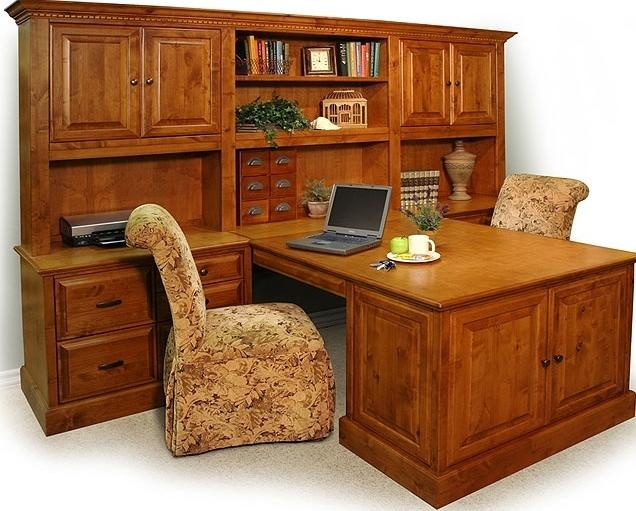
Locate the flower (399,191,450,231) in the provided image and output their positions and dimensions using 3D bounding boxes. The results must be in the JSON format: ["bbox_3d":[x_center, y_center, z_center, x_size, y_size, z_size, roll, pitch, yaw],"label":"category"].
[{"bbox_3d":[0.697,-0.300,3.572,0.407,0.225,0.362,-11,16,-32],"label":"flower"}]

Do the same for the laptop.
[{"bbox_3d":[0.147,-0.220,2.950,0.482,0.292,0.524,8,13,41],"label":"laptop"}]

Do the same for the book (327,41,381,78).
[{"bbox_3d":[0.245,-1.390,3.775,0.331,0.236,0.166,-13,21,-34],"label":"book"}]

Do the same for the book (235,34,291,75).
[{"bbox_3d":[-0.357,-1.300,3.465,0.353,0.257,0.215,-2,15,-4],"label":"book"}]

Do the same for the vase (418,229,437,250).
[{"bbox_3d":[0.595,-0.083,2.859,0.131,0.077,0.105,-2,12,-6],"label":"vase"}]

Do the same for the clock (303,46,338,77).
[{"bbox_3d":[0.014,-1.350,3.706,0.329,0.244,0.032,-3,-3,-20],"label":"clock"}]

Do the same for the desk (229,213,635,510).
[{"bbox_3d":[0.753,0.433,2.710,1.375,0.907,1.019,-10,17,-30],"label":"desk"}]

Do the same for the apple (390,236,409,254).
[{"bbox_3d":[0.398,-0.052,2.667,0.095,0.069,0.090,-10,16,-32],"label":"apple"}]

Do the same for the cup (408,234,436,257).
[{"bbox_3d":[0.523,-0.050,2.628,0.102,0.081,0.145,-7,17,-25],"label":"cup"}]

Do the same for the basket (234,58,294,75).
[{"bbox_3d":[-0.347,-1.222,3.470,0.270,0.062,0.177,-11,16,-40],"label":"basket"}]
